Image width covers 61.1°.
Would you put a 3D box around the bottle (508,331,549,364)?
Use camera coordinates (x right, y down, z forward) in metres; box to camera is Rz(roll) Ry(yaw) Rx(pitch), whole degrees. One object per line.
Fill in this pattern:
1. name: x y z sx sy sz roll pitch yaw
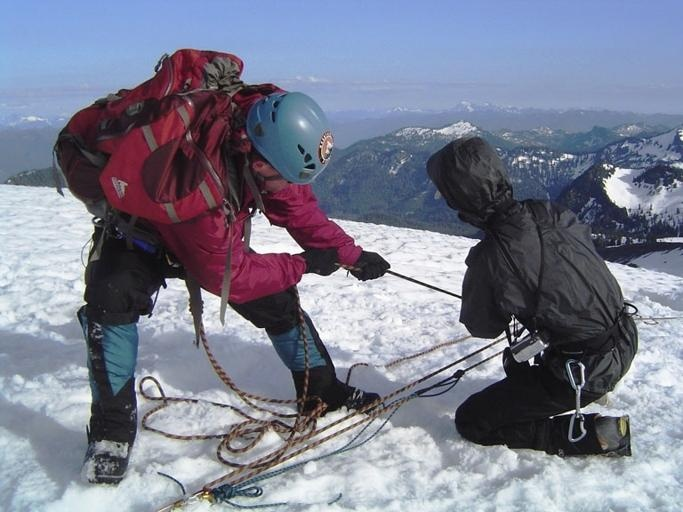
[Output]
1. bottle: 1.665 0.842 5.303 0.376 0.215 0.135 -23 54 24
